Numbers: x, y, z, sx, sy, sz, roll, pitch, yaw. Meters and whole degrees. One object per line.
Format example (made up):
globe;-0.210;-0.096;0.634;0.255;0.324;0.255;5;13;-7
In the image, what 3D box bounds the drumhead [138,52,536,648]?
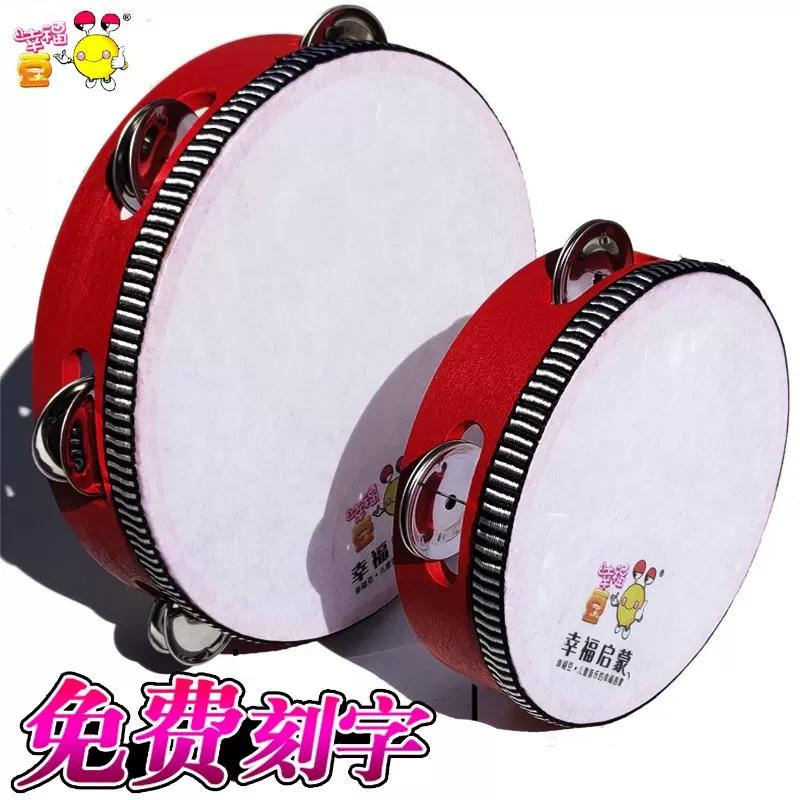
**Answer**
drumhead;-0.149;-0.090;1.869;0.143;1.266;0.899;14;17;37
